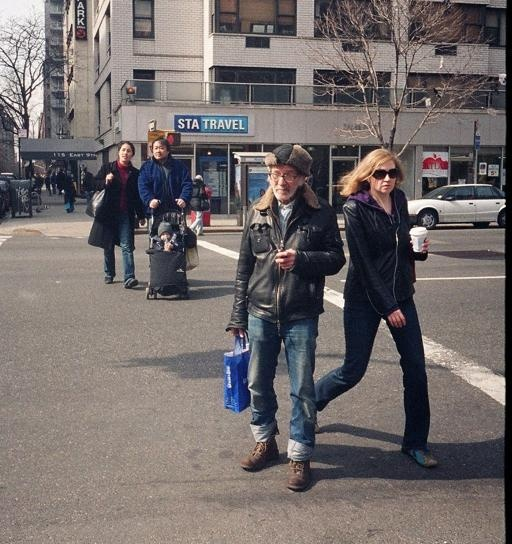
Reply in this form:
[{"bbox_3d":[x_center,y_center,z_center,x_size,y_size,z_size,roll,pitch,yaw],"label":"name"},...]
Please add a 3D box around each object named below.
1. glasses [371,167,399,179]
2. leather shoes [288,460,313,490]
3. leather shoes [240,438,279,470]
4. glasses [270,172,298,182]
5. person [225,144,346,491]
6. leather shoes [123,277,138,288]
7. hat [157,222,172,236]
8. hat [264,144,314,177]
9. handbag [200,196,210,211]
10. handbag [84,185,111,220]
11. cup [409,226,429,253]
[{"bbox_3d":[0.742,-0.561,4.756,0.147,0.064,0.067,-1,7,-11],"label":"glasses"},{"bbox_3d":[0.232,1.081,4.466,0.130,0.121,0.230,1,7,5],"label":"leather shoes"},{"bbox_3d":[0.046,1.049,4.720,0.094,0.193,0.267,-5,-14,35],"label":"leather shoes"},{"bbox_3d":[0.153,-0.530,4.619,0.167,0.079,0.073,0,7,1],"label":"glasses"},{"bbox_3d":[0.136,0.201,4.652,0.650,1.806,0.593,3,7,25],"label":"person"},{"bbox_3d":[-1.636,0.137,10.798,0.078,0.103,0.208,-14,-14,-30],"label":"leather shoes"},{"bbox_3d":[-1.086,-0.508,9.840,0.110,0.146,0.162,-3,-11,-18],"label":"hat"},{"bbox_3d":[0.183,-0.634,4.740,0.249,0.183,0.321,1,7,6],"label":"hat"},{"bbox_3d":[-1.301,-1.692,20.834,0.186,0.407,0.469,1,7,5],"label":"handbag"},{"bbox_3d":[-2.028,-0.881,10.602,0.312,0.422,0.242,-1,7,-12],"label":"handbag"},{"bbox_3d":[0.957,-0.188,4.826,0.116,0.147,0.118,-3,3,0],"label":"cup"}]
